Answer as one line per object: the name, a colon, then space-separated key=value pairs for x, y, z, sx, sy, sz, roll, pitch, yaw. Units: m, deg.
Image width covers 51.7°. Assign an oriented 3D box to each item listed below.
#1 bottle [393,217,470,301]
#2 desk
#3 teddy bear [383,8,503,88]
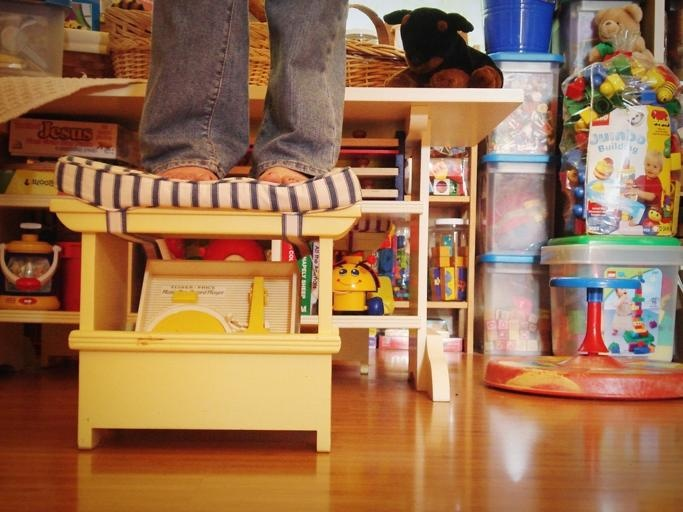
bottle: x=0.426 y=0.015 z=3.032 sx=0.407 sy=0.400 sz=0.323 roll=2 pitch=-5 yaw=-10
desk: x=-0.122 y=-0.111 z=2.107 sx=1.610 sy=0.745 sz=0.840 roll=0 pitch=-18 yaw=0
teddy bear: x=0.282 y=-0.580 z=1.972 sx=0.323 sy=0.185 sz=0.251 roll=2 pitch=-5 yaw=28
